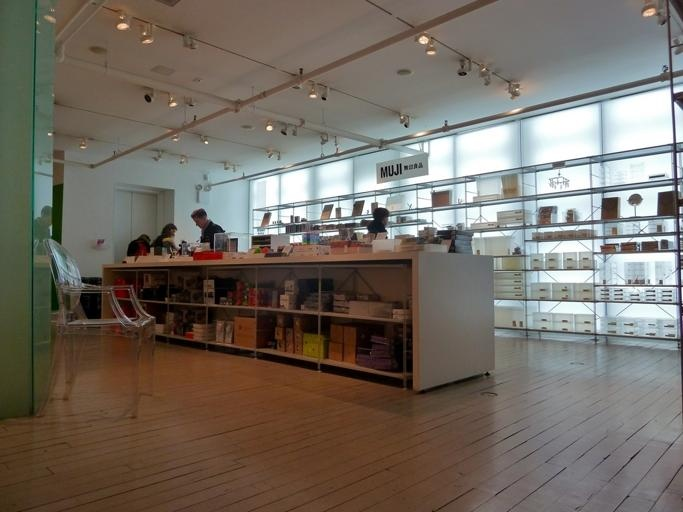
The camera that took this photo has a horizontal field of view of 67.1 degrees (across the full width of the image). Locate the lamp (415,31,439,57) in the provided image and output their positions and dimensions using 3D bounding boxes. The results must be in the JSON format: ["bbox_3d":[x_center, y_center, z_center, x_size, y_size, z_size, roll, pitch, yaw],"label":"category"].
[{"bbox_3d":[0.990,-2.455,6.032,0.225,0.107,0.364,-13,-14,21],"label":"lamp"}]

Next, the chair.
[{"bbox_3d":[-2.000,0.579,4.345,0.857,1.261,0.777,3,0,-4],"label":"chair"}]

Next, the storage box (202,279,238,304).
[{"bbox_3d":[-1.566,0.444,6.632,0.550,0.369,0.291,-1,-14,2],"label":"storage box"}]

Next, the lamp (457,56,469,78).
[{"bbox_3d":[1.617,-2.490,6.866,0.149,0.200,0.348,1,3,11],"label":"lamp"}]

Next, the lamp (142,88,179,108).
[{"bbox_3d":[-2.810,-2.384,7.844,0.343,0.107,0.323,-1,0,-7],"label":"lamp"}]

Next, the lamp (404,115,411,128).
[{"bbox_3d":[1.093,-2.237,8.660,0.150,0.194,0.059,-1,4,-5],"label":"lamp"}]

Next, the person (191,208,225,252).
[{"bbox_3d":[-1.983,-0.397,7.600,0.381,0.568,1.015,0,3,-15],"label":"person"}]

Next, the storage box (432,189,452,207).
[{"bbox_3d":[1.810,-1.019,9.311,0.164,0.280,0.303,11,-13,-44],"label":"storage box"}]

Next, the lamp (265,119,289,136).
[{"bbox_3d":[-1.143,-2.266,9.099,0.395,0.229,0.148,11,-27,-38],"label":"lamp"}]
